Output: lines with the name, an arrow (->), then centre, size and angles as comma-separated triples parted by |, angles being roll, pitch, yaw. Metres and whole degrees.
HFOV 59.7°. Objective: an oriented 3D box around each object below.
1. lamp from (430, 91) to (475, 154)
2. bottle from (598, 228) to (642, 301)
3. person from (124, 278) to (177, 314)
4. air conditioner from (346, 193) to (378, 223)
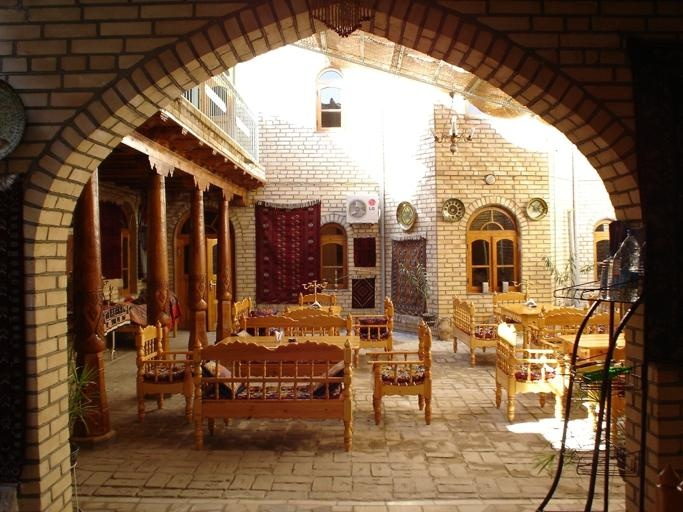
lamp -> 2.193, -2.648, 11.611 | 0.806, 1.274, 0.874 | 5, -4, -2
bottle -> 2.021, 0.070, 4.289 | 0.270, 0.501, 0.407 | 1, 4, 25
person -> -3.932, 0.892, 12.402 | 0.981, 0.495, 1.420 | 0, 1, -5
air conditioner -> 0.494, -1.077, 14.191 | 0.949, 0.937, 0.556 | 0, -3, 4
